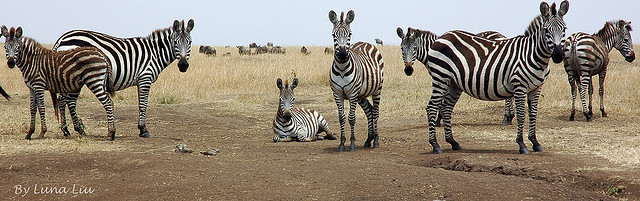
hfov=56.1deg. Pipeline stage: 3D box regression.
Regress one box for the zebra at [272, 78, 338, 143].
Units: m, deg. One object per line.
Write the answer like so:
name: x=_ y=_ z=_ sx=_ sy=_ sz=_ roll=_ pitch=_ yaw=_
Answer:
zebra: x=-1.463 y=0.660 z=41.399 sx=3.307 sy=4.329 sz=1.262 roll=-4 pitch=5 yaw=-30
